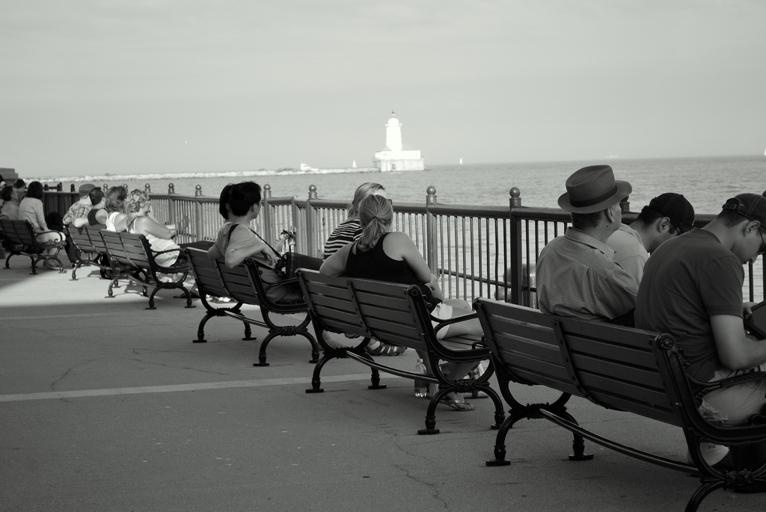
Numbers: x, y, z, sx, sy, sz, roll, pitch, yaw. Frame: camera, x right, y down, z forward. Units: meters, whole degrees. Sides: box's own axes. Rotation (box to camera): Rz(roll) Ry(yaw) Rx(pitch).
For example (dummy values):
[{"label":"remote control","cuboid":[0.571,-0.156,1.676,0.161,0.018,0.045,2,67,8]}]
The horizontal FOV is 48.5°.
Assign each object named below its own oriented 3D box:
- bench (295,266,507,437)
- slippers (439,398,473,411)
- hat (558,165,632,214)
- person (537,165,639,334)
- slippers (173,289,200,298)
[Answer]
[{"label":"bench","cuboid":[0.090,0.775,7.423,0.974,1.133,2.364,1,0,-26]},{"label":"slippers","cuboid":[0.612,1.229,7.088,0.090,0.118,0.289,0,-1,-23]},{"label":"hat","cuboid":[1.386,-0.435,5.556,0.521,0.182,0.457,-12,14,-7]},{"label":"person","cuboid":[1.428,-0.008,5.600,0.711,1.060,0.729,-1,4,-31]},{"label":"slippers","cuboid":[-2.910,0.555,12.590,0.327,0.118,0.243,-1,3,-3]}]
